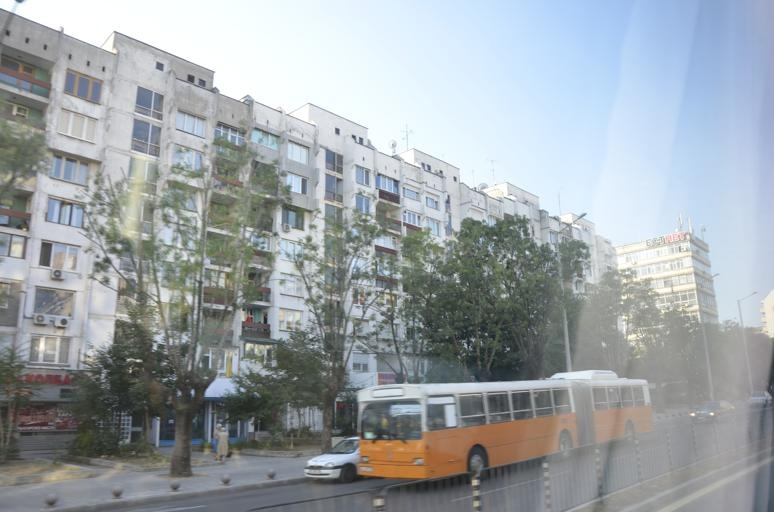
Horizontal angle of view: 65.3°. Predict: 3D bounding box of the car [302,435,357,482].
[{"bbox_3d":[-2.601,9.709,28.841,1.561,1.228,2.717,-14,-24,34],"label":"car"}]
